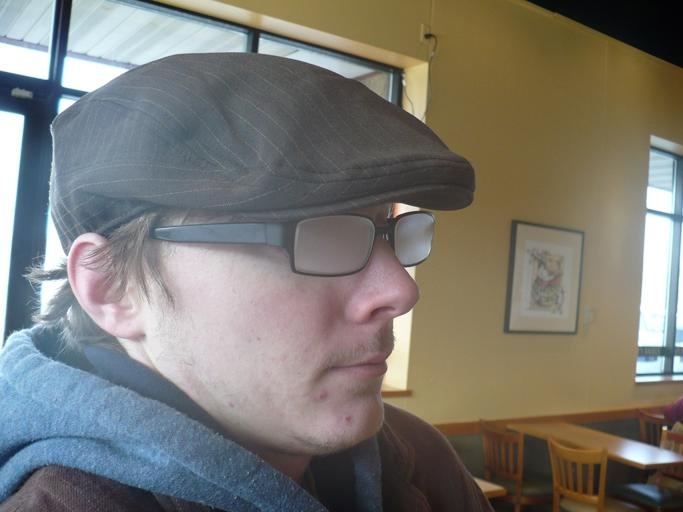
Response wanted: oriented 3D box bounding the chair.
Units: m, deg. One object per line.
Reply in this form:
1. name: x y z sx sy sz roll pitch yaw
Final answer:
1. chair: 1.661 1.344 4.254 1.716 0.464 0.960 8 -5 -41

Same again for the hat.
1. hat: -0.167 -0.190 1.168 0.487 0.194 0.410 -7 -2 20

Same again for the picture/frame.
1. picture/frame: 1.378 0.156 4.519 0.705 0.762 0.048 8 -10 -39
